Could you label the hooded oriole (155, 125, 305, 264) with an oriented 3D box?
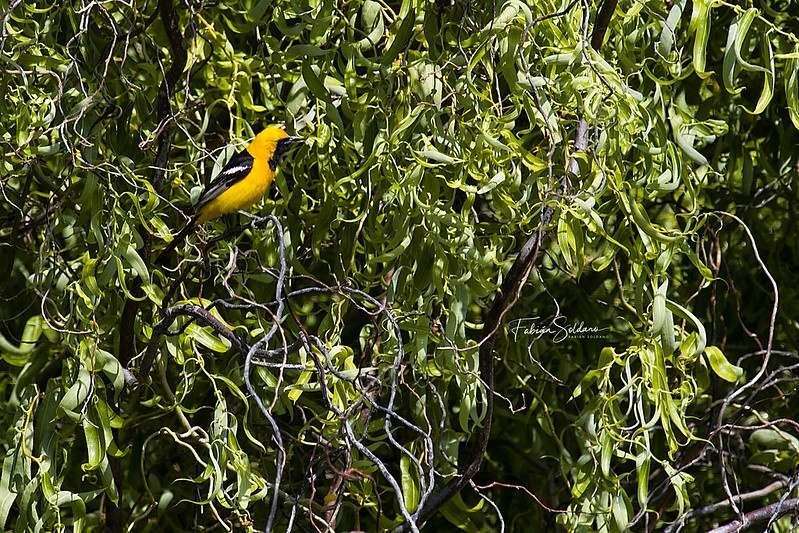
[{"bbox_3d":[-0.584,-0.258,3.185,0.540,0.306,0.162,-14,-15,13],"label":"hooded oriole"}]
